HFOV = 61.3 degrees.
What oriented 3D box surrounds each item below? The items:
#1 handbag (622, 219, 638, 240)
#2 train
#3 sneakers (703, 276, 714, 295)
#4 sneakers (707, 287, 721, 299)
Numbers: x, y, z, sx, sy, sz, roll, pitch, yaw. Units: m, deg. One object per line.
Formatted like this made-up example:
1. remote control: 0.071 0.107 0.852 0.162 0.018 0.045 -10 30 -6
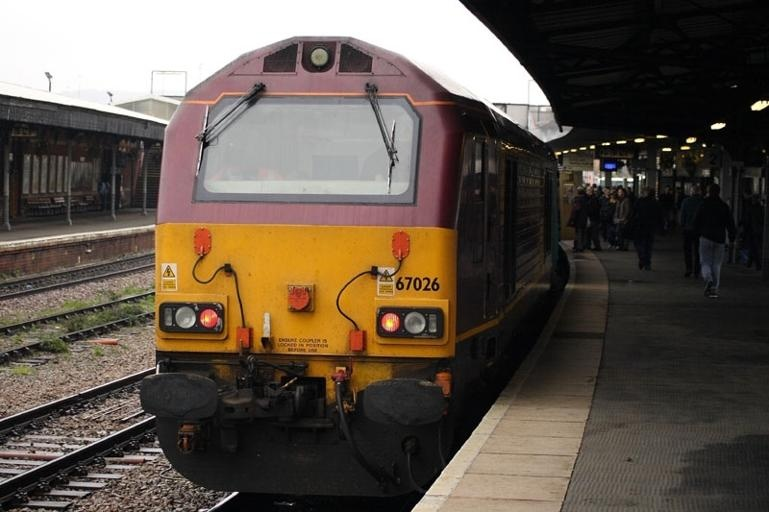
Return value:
1. handbag: 8.086 -0.937 21.361 0.352 0.400 0.667 -1 -18 9
2. train: -0.323 0.305 6.343 1.693 2.507 6.094 2 2 10
3. sneakers: 7.099 0.633 14.208 0.159 0.455 0.179 0 34 5
4. sneakers: 7.279 0.782 14.400 0.167 0.289 0.568 -1 -5 15
